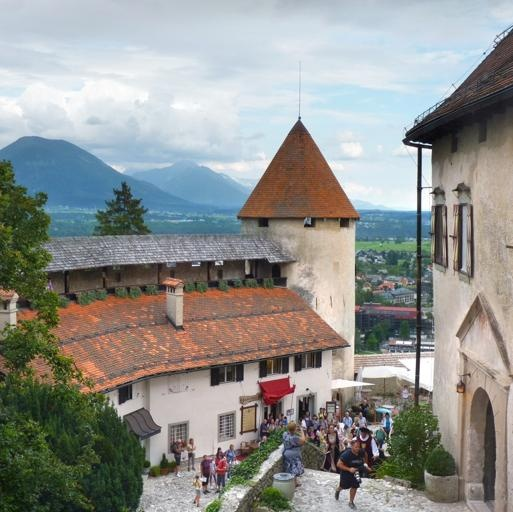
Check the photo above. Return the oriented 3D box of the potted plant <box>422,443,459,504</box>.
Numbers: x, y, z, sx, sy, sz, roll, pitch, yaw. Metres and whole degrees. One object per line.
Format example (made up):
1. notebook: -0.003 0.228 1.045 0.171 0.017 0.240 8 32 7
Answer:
1. potted plant: 5.168 5.943 26.856 1.019 1.934 1.187 -1 -2 6

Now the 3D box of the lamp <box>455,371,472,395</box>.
1. lamp: 5.659 3.443 26.453 0.300 0.497 0.736 -10 -7 -11

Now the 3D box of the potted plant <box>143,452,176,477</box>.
1. potted plant: -3.579 7.869 36.420 0.651 0.527 1.649 -15 -6 21

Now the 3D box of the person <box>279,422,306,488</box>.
1. person: 1.018 5.400 26.568 0.722 1.312 1.944 -11 -6 0
